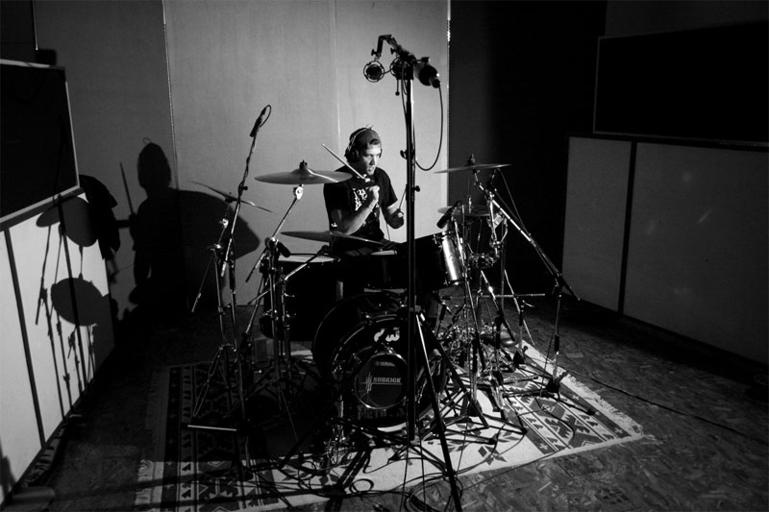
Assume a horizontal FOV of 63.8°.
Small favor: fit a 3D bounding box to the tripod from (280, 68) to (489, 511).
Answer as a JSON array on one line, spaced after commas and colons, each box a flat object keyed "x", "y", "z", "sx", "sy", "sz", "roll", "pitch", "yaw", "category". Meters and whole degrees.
[{"x": -0.031, "y": 0.109, "z": 4.536, "sx": 1.305, "sy": 2.923, "sz": 1.916, "roll": -2, "pitch": 14, "yaw": -9, "category": "tripod"}]

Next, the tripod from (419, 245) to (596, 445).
[{"x": 0.938, "y": 0.683, "z": 5.267, "sx": 1.342, "sy": 1.300, "sz": 1.392, "roll": 3, "pitch": 9, "yaw": 32, "category": "tripod"}]

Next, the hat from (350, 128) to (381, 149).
[{"x": -0.163, "y": -0.954, "z": 5.141, "sx": 0.235, "sy": 0.206, "sz": 0.190, "roll": 13, "pitch": 21, "yaw": 23, "category": "hat"}]

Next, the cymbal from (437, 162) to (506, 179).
[{"x": 0.825, "y": -0.845, "z": 6.040, "sx": 0.416, "sy": 0.068, "sz": 0.413, "roll": -7, "pitch": 10, "yaw": 44, "category": "cymbal"}]

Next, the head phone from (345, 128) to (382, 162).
[{"x": -0.184, "y": -0.954, "z": 5.155, "sx": 0.276, "sy": 0.264, "sz": 0.281, "roll": 25, "pitch": 32, "yaw": 38, "category": "head phone"}]

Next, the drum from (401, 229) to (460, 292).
[{"x": 0.376, "y": 0.015, "z": 4.621, "sx": 0.363, "sy": 0.388, "sz": 0.411, "roll": -16, "pitch": 11, "yaw": -36, "category": "drum"}]

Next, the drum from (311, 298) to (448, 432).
[{"x": -0.077, "y": 0.871, "z": 4.813, "sx": 0.841, "sy": 0.905, "sz": 0.623, "roll": 9, "pitch": 3, "yaw": -14, "category": "drum"}]

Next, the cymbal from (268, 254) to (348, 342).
[{"x": -0.754, "y": 0.359, "z": 5.500, "sx": 0.667, "sy": 0.718, "sz": 0.665, "roll": 9, "pitch": 8, "yaw": 17, "category": "cymbal"}]

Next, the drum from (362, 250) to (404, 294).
[{"x": -0.003, "y": 0.127, "z": 4.776, "sx": 0.429, "sy": 0.412, "sz": 0.254, "roll": -2, "pitch": -6, "yaw": 11, "category": "drum"}]

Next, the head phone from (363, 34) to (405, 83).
[{"x": 0.033, "y": -1.264, "z": 4.073, "sx": 0.384, "sy": 0.117, "sz": 0.249, "roll": -23, "pitch": -10, "yaw": -1, "category": "head phone"}]
